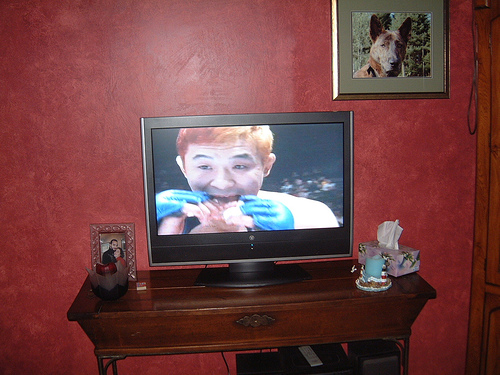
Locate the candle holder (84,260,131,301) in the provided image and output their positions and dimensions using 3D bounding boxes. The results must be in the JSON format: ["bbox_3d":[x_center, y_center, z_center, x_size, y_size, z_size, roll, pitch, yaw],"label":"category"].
[{"bbox_3d":[-0.778,0.506,2.423,0.185,0.182,0.200,-4,14,-28],"label":"candle holder"}]

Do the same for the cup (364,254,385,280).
[{"bbox_3d":[0.688,0.452,2.492,0.106,0.108,0.112,0,0,0],"label":"cup"}]

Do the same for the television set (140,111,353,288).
[{"bbox_3d":[-0.006,0.042,2.569,1.148,0.877,0.087,-2,8,-8],"label":"television set"}]
